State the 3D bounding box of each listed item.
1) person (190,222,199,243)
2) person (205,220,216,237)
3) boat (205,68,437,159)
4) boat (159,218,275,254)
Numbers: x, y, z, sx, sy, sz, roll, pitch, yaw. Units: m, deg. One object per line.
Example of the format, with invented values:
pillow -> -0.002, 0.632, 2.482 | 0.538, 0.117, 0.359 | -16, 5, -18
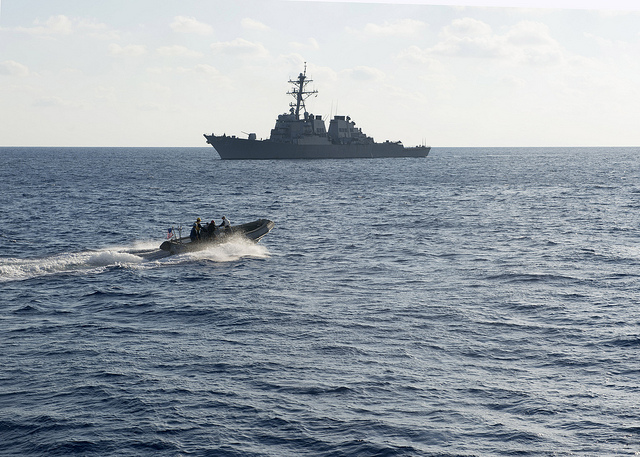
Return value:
person -> -6.668, 0.190, 53.193 | 0.471, 0.965, 0.612 | 0, 13, -6
person -> -5.845, 0.013, 53.664 | 0.534, 0.908, 0.515 | -1, 13, -7
boat -> 1.144, -16.641, 152.318 | 46.300, 12.563, 6.659 | -4, 8, -44
boat -> -5.591, 0.536, 54.609 | 6.734, 1.950, 1.983 | -12, 24, -39
